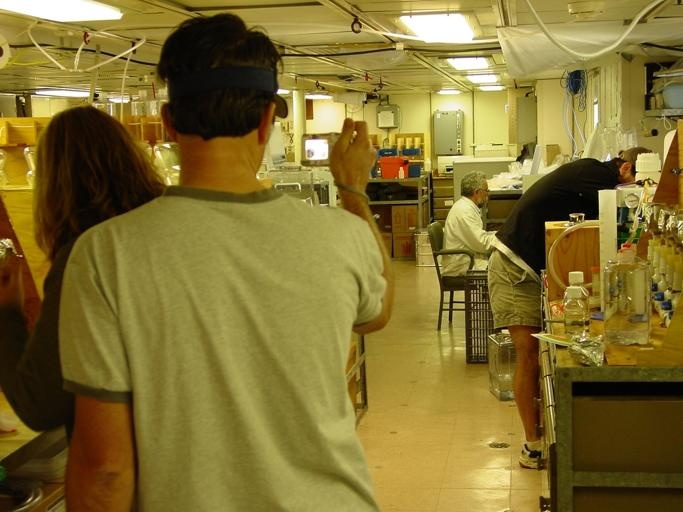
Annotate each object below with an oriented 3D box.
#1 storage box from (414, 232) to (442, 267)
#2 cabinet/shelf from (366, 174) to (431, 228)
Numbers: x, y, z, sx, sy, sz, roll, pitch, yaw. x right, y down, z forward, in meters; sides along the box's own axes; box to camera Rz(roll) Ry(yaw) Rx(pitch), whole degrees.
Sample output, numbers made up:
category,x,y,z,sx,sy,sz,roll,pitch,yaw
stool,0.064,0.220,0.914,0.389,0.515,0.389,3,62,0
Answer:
category,x,y,z,sx,sy,sz,roll,pitch,yaw
storage box,1.340,-0.109,9.591,0.500,0.658,0.496,-1,0,3
cabinet/shelf,1.046,-1.030,10.773,0.979,1.179,1.734,-1,7,7
